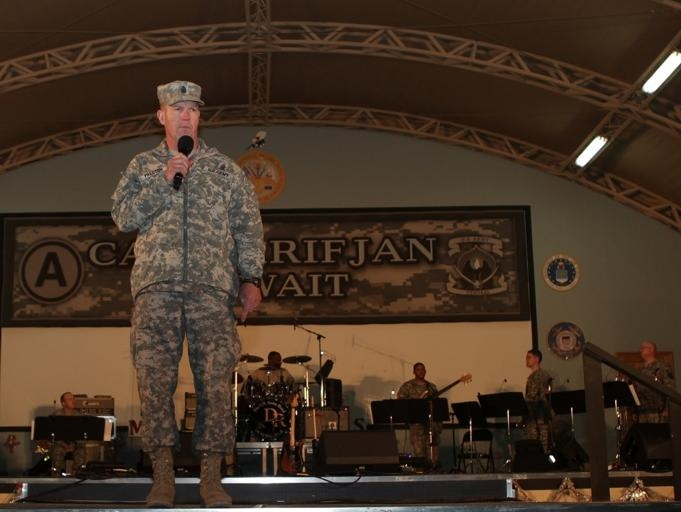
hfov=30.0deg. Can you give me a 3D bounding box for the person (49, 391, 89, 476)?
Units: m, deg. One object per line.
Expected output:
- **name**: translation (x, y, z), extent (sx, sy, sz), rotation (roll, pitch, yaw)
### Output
- **person**: translation (-4.102, 2.593, 19.299), extent (0.519, 1.489, 2.722), rotation (1, -16, -12)

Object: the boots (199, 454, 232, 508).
- **boots**: translation (-1.233, 2.248, 12.762), extent (0.323, 0.555, 0.353), rotation (-2, -17, -1)

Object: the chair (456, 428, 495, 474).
- **chair**: translation (2.242, 3.128, 20.616), extent (0.681, 1.009, 0.790), rotation (1, -4, 9)

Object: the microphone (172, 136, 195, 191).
- **microphone**: translation (-1.581, -0.951, 12.869), extent (0.171, 0.593, 0.160), rotation (-2, -36, -3)

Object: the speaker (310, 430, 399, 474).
- **speaker**: translation (0.214, 2.204, 14.375), extent (0.931, 0.487, 0.168), rotation (-1, -17, -3)

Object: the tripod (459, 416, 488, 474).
- **tripod**: translation (2.238, 3.227, 20.441), extent (0.514, 0.794, 0.498), rotation (-1, 14, 4)

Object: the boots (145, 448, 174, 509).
- **boots**: translation (-1.797, 2.221, 12.763), extent (0.280, 0.598, 0.235), rotation (0, -17, -10)

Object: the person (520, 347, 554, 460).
- **person**: translation (3.096, 2.213, 19.698), extent (0.502, 1.658, 0.452), rotation (-10, -18, 22)
